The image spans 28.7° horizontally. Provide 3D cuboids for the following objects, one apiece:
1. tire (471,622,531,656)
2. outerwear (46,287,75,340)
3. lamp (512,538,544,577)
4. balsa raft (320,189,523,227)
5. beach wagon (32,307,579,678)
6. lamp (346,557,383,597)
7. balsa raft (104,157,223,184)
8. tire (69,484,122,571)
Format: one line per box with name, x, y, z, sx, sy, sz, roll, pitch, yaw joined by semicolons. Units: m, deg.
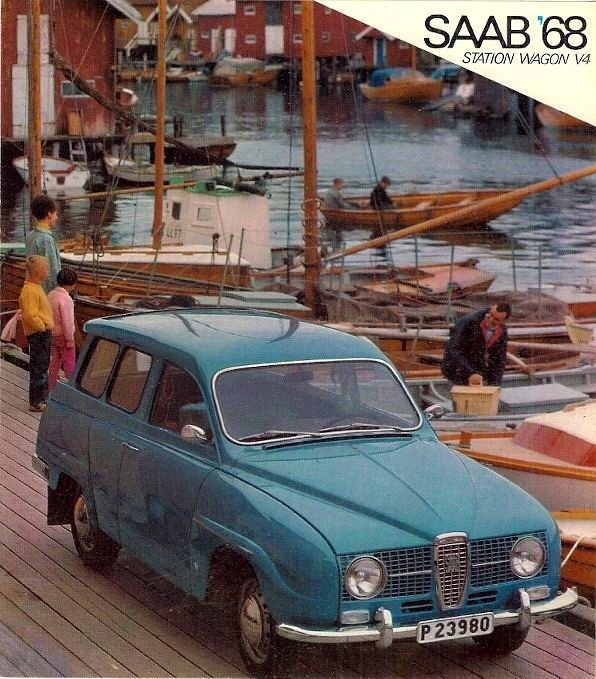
tire;0.859;1.272;4.890;0.196;0.078;0.232;-2;1;18
outerwear;-1.744;-0.180;8.522;0.158;0.377;0.283;-11;21;-30
lamp;0.922;0.883;4.694;0.178;0.161;0.048;-7;14;-41
balsa raft;1.654;-1.752;16.798;3.095;0.540;0.920;1;31;5
beach wagon;-0.057;0.669;5.324;1.282;1.293;2.489;-6;13;-38
lamp;0.244;0.898;4.396;0.138;0.137;0.075;-9;6;-18
balsa raft;-1.951;-2.558;17.484;1.686;0.395;0.395;7;19;24
tire;-1.001;0.942;5.811;0.136;0.471;0.423;-7;13;-31
